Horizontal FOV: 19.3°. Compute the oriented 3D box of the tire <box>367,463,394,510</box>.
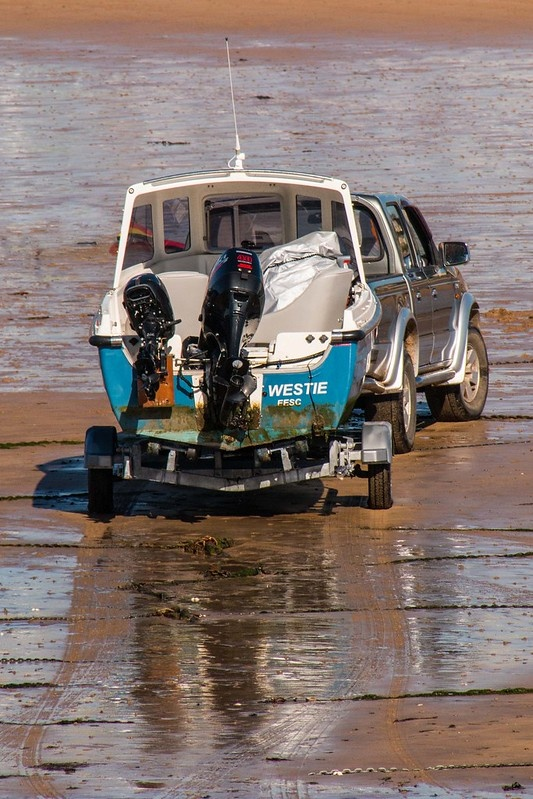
[{"bbox_3d":[0.807,0.623,11.214,0.150,0.346,0.336,0,92,6],"label":"tire"}]

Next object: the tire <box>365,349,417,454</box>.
[{"bbox_3d":[0.976,-0.001,12.571,0.294,0.809,0.785,-3,98,18],"label":"tire"}]

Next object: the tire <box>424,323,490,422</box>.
[{"bbox_3d":[1.829,-0.257,15.233,0.367,1.034,0.987,-1,89,35],"label":"tire"}]

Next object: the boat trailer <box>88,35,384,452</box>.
[{"bbox_3d":[-0.152,-0.939,11.860,1.985,3.509,2.027,2,108,5],"label":"boat trailer"}]

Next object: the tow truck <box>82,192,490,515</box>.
[{"bbox_3d":[-0.093,-0.831,12.640,2.450,4.826,2.144,-1,103,7],"label":"tow truck"}]
